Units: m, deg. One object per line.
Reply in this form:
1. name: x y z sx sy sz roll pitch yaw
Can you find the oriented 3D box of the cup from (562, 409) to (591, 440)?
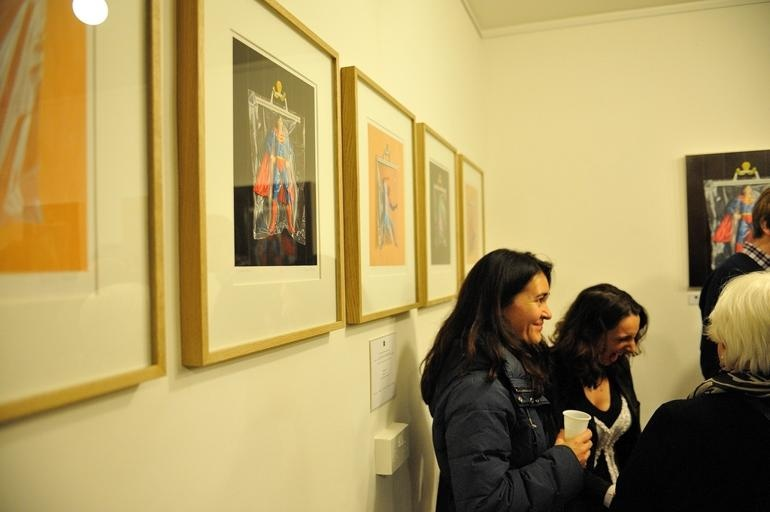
1. cup: 0.706 0.600 1.933 0.091 0.089 0.095 4 1 0
